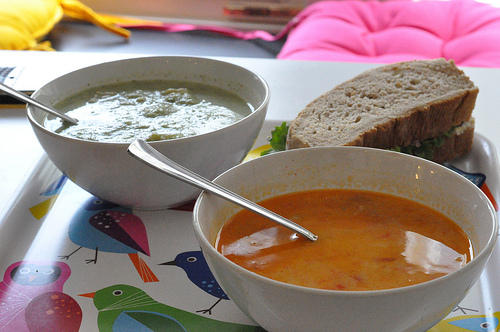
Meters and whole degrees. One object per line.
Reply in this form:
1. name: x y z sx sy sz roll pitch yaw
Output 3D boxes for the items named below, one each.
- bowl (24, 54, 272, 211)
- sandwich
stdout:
1. bowl: -0.272 -0.018 1.217 0.558 0.222 0.527 0 27 0
2. sandwich: 0.434 -0.106 1.460 0.557 0.213 0.326 -15 40 2
